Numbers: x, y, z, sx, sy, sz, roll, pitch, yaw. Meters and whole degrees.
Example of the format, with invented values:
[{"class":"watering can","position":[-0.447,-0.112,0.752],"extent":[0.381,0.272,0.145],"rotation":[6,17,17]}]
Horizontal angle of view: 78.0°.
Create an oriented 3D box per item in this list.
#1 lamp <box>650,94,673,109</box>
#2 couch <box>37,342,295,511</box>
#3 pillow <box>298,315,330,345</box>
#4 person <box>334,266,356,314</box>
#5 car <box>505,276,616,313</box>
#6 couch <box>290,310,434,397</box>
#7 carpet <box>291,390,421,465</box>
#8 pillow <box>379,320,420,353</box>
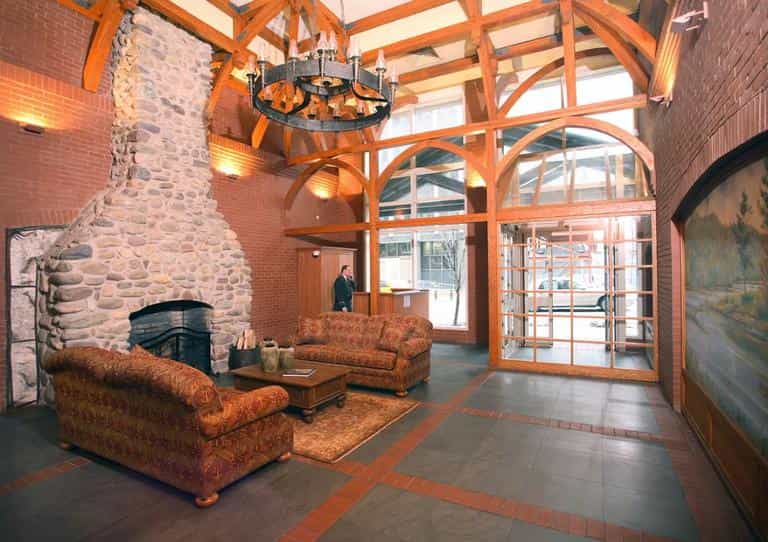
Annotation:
[{"class":"lamp","position":[3.903,-2.375,6.608],"extent":[0.339,0.121,0.338],"rotation":[2,8,41]},{"class":"couch","position":[-2.619,1.569,5.857],"extent":[2.937,1.344,1.648],"rotation":[4,4,33]},{"class":"pillow","position":[-1.267,1.052,8.546],"extent":[0.462,0.427,0.222],"rotation":[4,-31,-7]},{"class":"person","position":[-0.800,0.395,9.636],"extent":[0.399,0.972,0.992],"rotation":[-2,14,-4]},{"class":"car","position":[3.666,0.547,9.675],"extent":[2.276,0.689,0.910],"rotation":[-2,0,6]},{"class":"couch","position":[-0.482,1.323,8.224],"extent":[2.574,1.071,1.071],"rotation":[1,3,29]},{"class":"carpet","position":[-0.603,2.020,6.537],"extent":[1.336,0.013,1.899],"rotation":[2,9,34]},{"class":"pillow","position":[0.204,1.112,8.015],"extent":[0.520,0.495,0.188],"rotation":[16,-14,28]}]
